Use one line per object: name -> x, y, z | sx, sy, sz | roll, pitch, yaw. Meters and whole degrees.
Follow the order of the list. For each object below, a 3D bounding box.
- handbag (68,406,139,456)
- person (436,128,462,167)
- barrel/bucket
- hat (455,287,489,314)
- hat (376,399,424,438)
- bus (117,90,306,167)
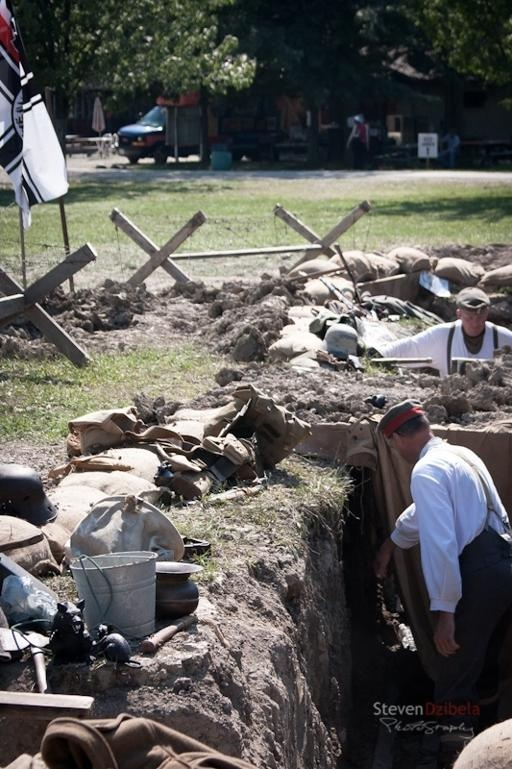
handbag -> -0.941, 0.297, 7.562 | 0.470, 0.310, 0.335 | -2, 11, 5
person -> 4.693, -5.736, 30.068 | 0.534, 0.862, 1.720 | -1, 11, 9
barrel/bucket -> -0.602, 0.924, 5.518 | 0.333, 0.390, 0.375 | -10, -4, -30
hat -> 1.610, -0.642, 9.243 | 0.213, 0.142, 0.336 | -3, 11, -1
hat -> 0.798, 0.198, 6.849 | 0.205, 0.084, 0.191 | -28, -6, 20
bus -> -1.250, -6.375, 31.358 | 4.099, 2.283, 2.268 | -4, 13, -28
